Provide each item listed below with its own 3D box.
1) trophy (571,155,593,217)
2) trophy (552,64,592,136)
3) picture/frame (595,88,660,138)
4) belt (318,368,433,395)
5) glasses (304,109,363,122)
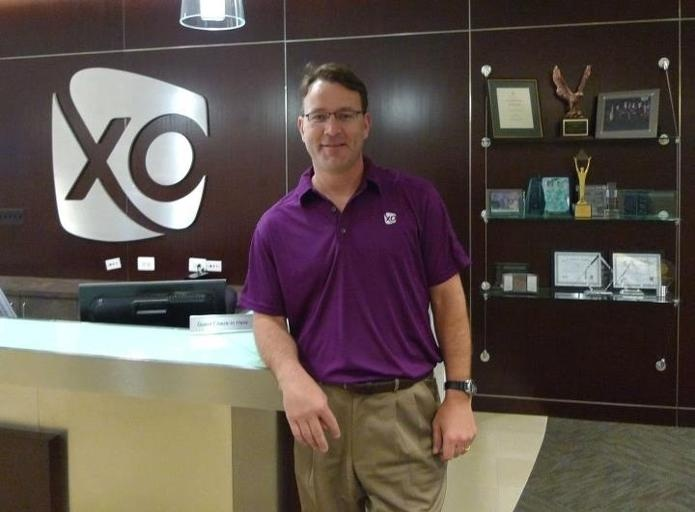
[{"bbox_3d":[1.793,-0.545,5.405,0.139,0.495,0.148,1,3,18],"label":"trophy"},{"bbox_3d":[1.717,-1.201,5.449,0.300,0.569,0.118,1,3,20],"label":"trophy"},{"bbox_3d":[2.109,-1.076,5.343,0.454,0.359,0.124,2,3,22],"label":"picture/frame"},{"bbox_3d":[0.138,0.577,3.350,0.263,0.098,0.303,0,6,-44],"label":"belt"},{"bbox_3d":[-0.069,-0.663,3.353,0.260,0.057,0.051,1,3,4],"label":"glasses"}]
